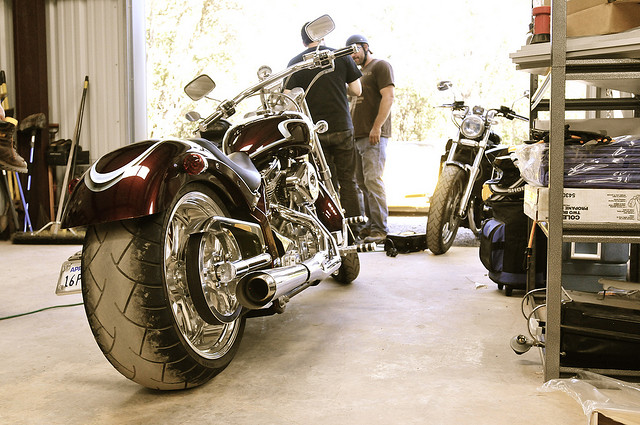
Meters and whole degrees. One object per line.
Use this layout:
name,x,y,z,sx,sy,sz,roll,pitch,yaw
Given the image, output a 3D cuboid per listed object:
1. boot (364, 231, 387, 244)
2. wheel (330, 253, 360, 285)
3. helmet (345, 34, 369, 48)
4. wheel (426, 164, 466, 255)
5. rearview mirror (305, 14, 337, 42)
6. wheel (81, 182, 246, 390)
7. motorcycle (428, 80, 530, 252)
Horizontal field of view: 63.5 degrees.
boot,0.529,0.244,5.094,0.091,0.099,0.252,-3,-6,32
wheel,0.170,0.382,3.551,0.085,0.199,0.200,-13,-25,-31
helmet,0.387,-1.807,5.411,0.164,0.117,0.225,3,14,44
wheel,1.158,-0.030,4.640,0.436,0.803,0.262,-11,15,-43
rearview mirror,0.000,-1.011,2.826,0.169,0.113,0.035,-30,11,-6
wheel,-0.654,0.292,2.154,0.302,0.919,0.814,-4,6,34
motorcycle,1.371,-0.432,4.653,0.689,1.524,0.701,3,11,19
